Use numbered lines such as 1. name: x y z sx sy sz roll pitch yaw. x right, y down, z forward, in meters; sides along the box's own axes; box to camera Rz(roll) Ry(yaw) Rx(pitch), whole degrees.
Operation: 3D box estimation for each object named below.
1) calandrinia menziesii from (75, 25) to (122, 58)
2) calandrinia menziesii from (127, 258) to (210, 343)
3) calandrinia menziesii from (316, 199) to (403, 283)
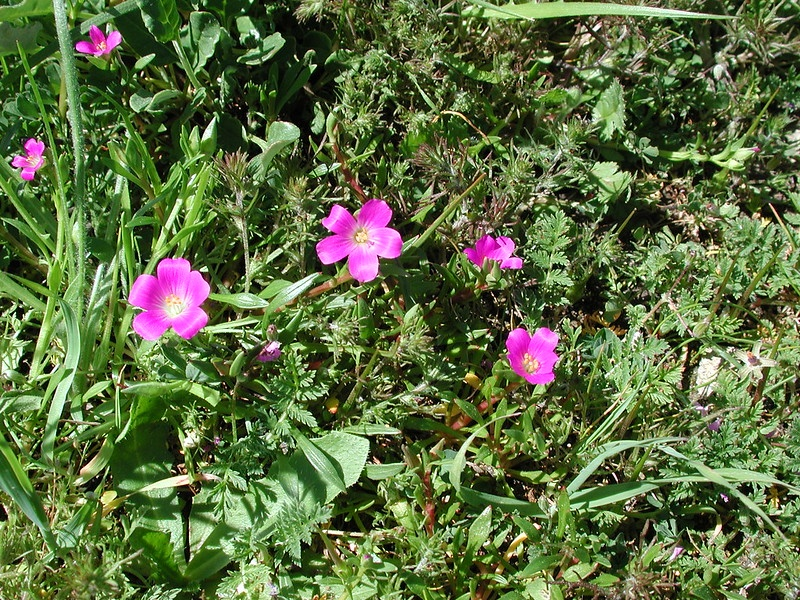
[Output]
1. calandrinia menziesii: -1.322 -1.115 2.967 0.170 0.088 0.157 36 70 24
2. calandrinia menziesii: -0.894 0.016 2.640 0.326 0.382 0.145 -3 77 -8
3. calandrinia menziesii: -0.186 -0.281 2.743 0.350 0.333 0.107 10 51 -58
